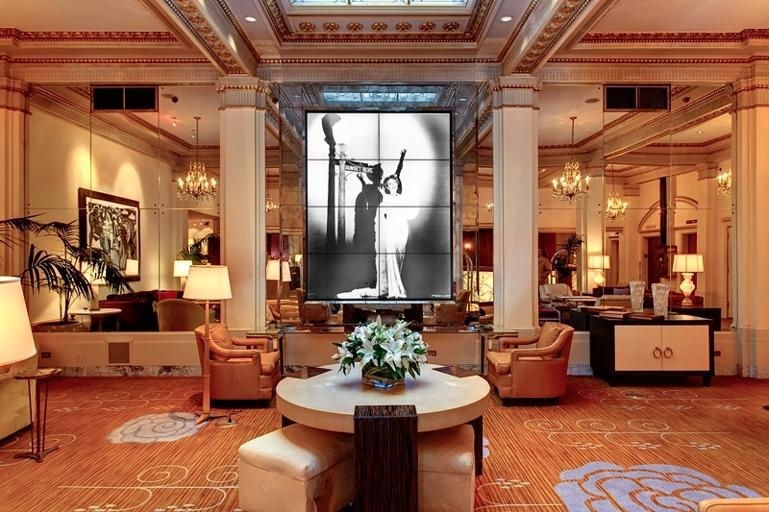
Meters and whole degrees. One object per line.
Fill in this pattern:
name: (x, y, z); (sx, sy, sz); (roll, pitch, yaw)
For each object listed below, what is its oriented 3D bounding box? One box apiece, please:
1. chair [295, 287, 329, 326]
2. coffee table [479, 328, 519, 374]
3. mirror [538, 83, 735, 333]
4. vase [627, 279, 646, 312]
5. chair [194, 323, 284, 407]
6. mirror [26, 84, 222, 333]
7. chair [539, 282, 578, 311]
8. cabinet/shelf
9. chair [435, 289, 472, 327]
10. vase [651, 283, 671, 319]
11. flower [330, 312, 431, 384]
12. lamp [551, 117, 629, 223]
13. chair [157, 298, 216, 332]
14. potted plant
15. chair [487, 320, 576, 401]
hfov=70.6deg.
chair: (-1.173, 0.919, 9.095); (0.588, 0.639, 0.478); (0, -5, -5)
coffee table: (1.703, 1.449, 8.543); (0.816, 0.772, 0.571); (0, 1, -1)
mirror: (4.035, -0.775, 8.937); (4.209, 5.534, 0.086); (0, -4, 0)
vase: (4.160, 0.654, 8.885); (0.233, 0.465, 0.223); (-3, -2, 14)
chair: (-2.106, 1.637, 8.077); (1.170, 1.068, 1.121); (0, 2, -7)
mirror: (-4.304, -0.730, 8.848); (4.119, 4.378, 0.151); (-1, -2, -5)
chair: (2.824, 0.678, 8.802); (0.584, 0.407, 0.413); (0, 11, 3)
cabinet/shelf: (4.255, 1.491, 8.605); (1.706, 1.059, 0.469); (-2, -2, 0)
chair: (1.105, 0.910, 8.783); (0.630, 0.642, 0.483); (-1, -8, 3)
vase: (4.459, 0.714, 8.733); (0.242, 0.511, 0.511); (-3, -2, 26)
flower: (-0.010, 1.050, 6.073); (0.844, 0.564, 0.833); (-3, 7, -27)
lamp: (3.415, -1.390, 8.959); (1.722, 2.056, 0.672); (2, -2, -19)
chair: (-3.377, 0.987, 8.916); (0.703, 0.433, 0.652); (1, 0, -3)
potted plant: (-5.191, 0.440, 9.276); (1.730, 1.504, 1.723); (3, -5, -14)
chair: (2.085, 1.556, 8.088); (1.206, 1.043, 1.104); (0, -3, 3)
